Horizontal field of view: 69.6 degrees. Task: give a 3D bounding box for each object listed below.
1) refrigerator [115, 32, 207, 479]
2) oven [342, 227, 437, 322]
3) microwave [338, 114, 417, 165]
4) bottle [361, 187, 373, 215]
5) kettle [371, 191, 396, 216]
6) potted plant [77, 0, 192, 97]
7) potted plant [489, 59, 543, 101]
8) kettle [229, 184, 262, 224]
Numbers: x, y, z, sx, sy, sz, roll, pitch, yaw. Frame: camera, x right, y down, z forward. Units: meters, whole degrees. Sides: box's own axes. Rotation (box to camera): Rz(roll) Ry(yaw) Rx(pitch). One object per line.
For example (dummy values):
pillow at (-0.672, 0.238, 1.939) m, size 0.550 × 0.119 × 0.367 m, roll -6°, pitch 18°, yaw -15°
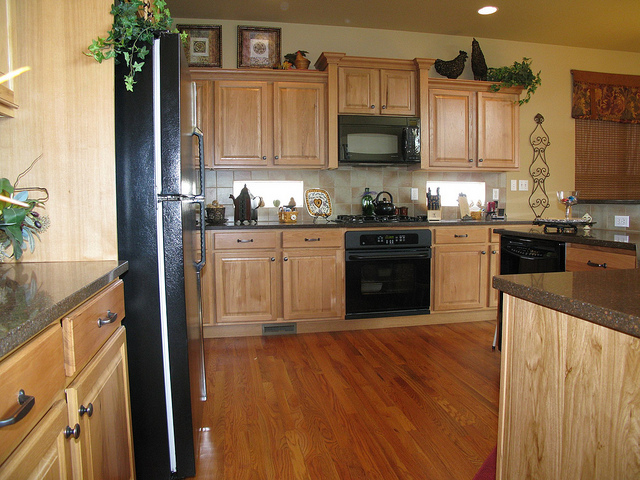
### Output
refrigerator at (-0.668, 0.092, 2.028) m, size 0.318 × 1.879 × 0.533 m, roll -2°, pitch 9°, yaw -9°
oven at (0.552, 0.265, 3.982) m, size 0.720 × 0.727 × 0.527 m, roll -1°, pitch 2°, yaw -1°
microwave at (0.498, -0.863, 3.978) m, size 0.632 × 0.438 × 0.416 m, roll -1°, pitch 5°, yaw -11°
bottle at (0.426, -0.341, 4.181) m, size 0.087 × 0.212 × 0.159 m, roll -1°, pitch 9°, yaw -5°
kettle at (0.597, -0.330, 4.224) m, size 0.254 × 0.249 × 0.190 m, roll 2°, pitch -2°, yaw -31°
potted plant at (-0.739, -0.769, 1.842) m, size 0.408 × 0.394 × 0.166 m, roll -6°, pitch 11°, yaw -30°
potted plant at (1.784, -1.483, 4.227) m, size 0.445 × 0.264 × 0.459 m, roll 6°, pitch 6°, yaw 27°
kettle at (-0.617, -0.289, 3.843) m, size 0.302 × 0.310 × 0.162 m, roll -2°, pitch -2°, yaw 13°
